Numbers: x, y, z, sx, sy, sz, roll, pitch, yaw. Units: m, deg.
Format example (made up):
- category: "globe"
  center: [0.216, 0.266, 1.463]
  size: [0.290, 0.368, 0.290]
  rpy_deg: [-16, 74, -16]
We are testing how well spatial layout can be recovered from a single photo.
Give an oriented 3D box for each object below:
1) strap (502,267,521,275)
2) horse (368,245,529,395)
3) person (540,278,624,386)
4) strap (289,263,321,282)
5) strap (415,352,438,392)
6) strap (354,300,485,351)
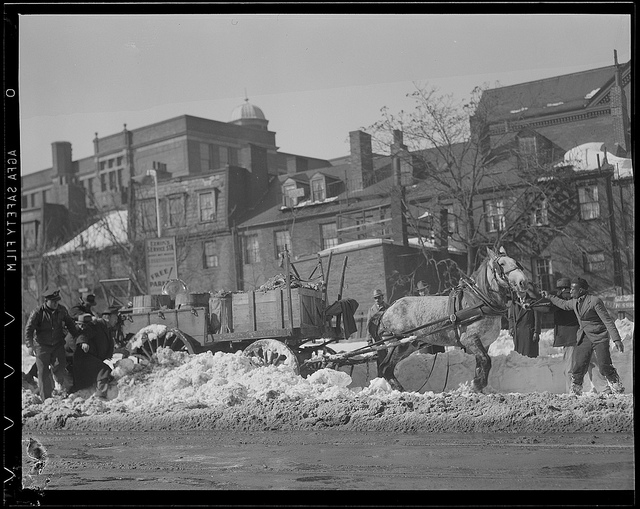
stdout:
- category: "strap"
  center: [3.643, 0.302, 22.911]
  size: [0.330, 0.096, 0.180]
  rpy_deg: [-5, -3, -1]
- category: "horse"
  center: [2.518, 1.527, 24.163]
  size: [0.994, 2.856, 4.131]
  rpy_deg: [6, -13, -44]
- category: "person"
  center: [5.086, 1.575, 23.471]
  size: [1.118, 2.444, 1.564]
  rpy_deg: [3, -15, -30]
- category: "strap"
  center: [-0.356, 0.459, 24.414]
  size: [0.502, 0.334, 0.194]
  rpy_deg: [4, -28, -3]
- category: "strap"
  center: [2.231, 2.467, 25.111]
  size: [0.074, 0.160, 1.046]
  rpy_deg: [7, 49, 39]
- category: "strap"
  center: [2.087, 1.414, 24.046]
  size: [0.297, 0.075, 4.386]
  rpy_deg: [-12, -4, -38]
